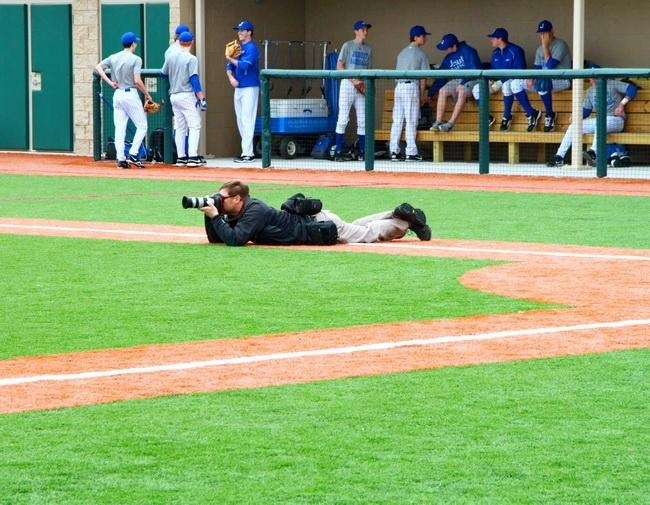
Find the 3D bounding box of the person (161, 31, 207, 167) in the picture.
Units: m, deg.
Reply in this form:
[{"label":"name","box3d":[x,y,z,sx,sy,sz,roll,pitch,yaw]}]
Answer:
[{"label":"person","box3d":[-2.017,-2.205,19.833,0.523,1.986,0.851,-5,14,-20]}]

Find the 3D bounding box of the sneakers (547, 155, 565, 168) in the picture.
[{"label":"sneakers","box3d":[3.244,-1.234,18.661,0.383,0.149,0.139,-1,4,-24]}]

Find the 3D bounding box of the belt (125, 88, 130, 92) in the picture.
[{"label":"belt","box3d":[-2.780,-2.296,19.271,0.084,0.042,0.045,0,-13,-2]}]

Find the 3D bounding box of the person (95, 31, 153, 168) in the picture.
[{"label":"person","box3d":[-2.869,-2.168,19.661,0.749,1.961,1.525,-3,13,-10]}]

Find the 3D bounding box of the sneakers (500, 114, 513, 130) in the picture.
[{"label":"sneakers","box3d":[2.572,-1.843,19.409,0.096,0.106,0.255,8,44,29]}]

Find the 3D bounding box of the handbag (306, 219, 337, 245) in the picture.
[{"label":"handbag","box3d":[-0.033,-0.160,10.963,0.223,0.206,0.169,-4,16,-18]}]

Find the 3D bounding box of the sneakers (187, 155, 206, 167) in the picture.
[{"label":"sneakers","box3d":[-1.880,-1.332,20.149,0.118,0.127,0.302,5,9,41]}]

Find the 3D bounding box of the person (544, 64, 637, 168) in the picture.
[{"label":"person","box3d":[3.564,-1.717,18.287,0.912,1.217,1.088,9,16,35]}]

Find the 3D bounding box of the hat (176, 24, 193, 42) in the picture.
[{"label":"hat","box3d":[-2.006,-3.076,19.551,0.276,0.206,0.407,7,25,-7]}]

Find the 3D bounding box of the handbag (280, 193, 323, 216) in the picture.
[{"label":"handbag","box3d":[-0.185,-0.375,10.812,0.250,0.108,0.192,10,12,43]}]

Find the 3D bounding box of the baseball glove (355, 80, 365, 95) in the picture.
[{"label":"baseball glove","box3d":[0.528,-2.451,20.293,0.127,0.214,0.283,0,13,3]}]

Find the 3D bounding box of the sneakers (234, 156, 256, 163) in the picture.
[{"label":"sneakers","box3d":[-1.197,-1.391,20.473,0.284,0.111,0.107,3,4,-5]}]

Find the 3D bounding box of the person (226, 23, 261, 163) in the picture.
[{"label":"person","box3d":[-1.202,-2.375,20.352,0.476,2.070,0.593,-1,13,-4]}]

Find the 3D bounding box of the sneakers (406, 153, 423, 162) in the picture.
[{"label":"sneakers","box3d":[1.339,-1.380,20.122,0.265,0.101,0.090,-1,10,-13]}]

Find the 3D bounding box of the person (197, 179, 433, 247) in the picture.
[{"label":"person","box3d":[-0.010,-0.288,10.986,1.943,0.541,0.668,0,1,-20]}]

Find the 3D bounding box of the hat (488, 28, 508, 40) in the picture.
[{"label":"hat","box3d":[2.486,-3.188,19.900,0.335,0.177,0.233,4,13,13]}]

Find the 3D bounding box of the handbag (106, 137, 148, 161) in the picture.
[{"label":"handbag","box3d":[-3.060,-1.606,21.209,0.608,0.290,0.355,2,3,-8]}]

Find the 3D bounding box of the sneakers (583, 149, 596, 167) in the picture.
[{"label":"sneakers","box3d":[3.469,-1.226,17.858,0.236,0.208,0.175,0,10,1]}]

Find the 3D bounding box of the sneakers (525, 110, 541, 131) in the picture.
[{"label":"sneakers","box3d":[2.951,-1.852,19.243,0.164,0.367,0.129,27,-13,-32]}]

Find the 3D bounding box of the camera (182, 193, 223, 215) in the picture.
[{"label":"camera","box3d":[-0.908,-0.369,10.237,0.231,0.083,0.143,-3,1,-32]}]

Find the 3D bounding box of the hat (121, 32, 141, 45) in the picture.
[{"label":"hat","box3d":[-2.729,-2.981,19.195,0.182,0.171,0.306,0,13,0]}]

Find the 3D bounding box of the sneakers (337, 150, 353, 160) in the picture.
[{"label":"sneakers","box3d":[0.310,-1.471,20.861,0.213,0.077,0.129,-5,11,-37]}]

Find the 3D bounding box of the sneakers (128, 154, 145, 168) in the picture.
[{"label":"sneakers","box3d":[-2.709,-1.306,19.908,0.301,0.121,0.108,19,32,-27]}]

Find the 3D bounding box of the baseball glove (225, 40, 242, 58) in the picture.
[{"label":"baseball glove","box3d":[-1.327,-3.013,20.118,0.118,0.267,0.262,17,-4,-40]}]

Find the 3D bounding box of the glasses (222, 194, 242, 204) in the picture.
[{"label":"glasses","box3d":[-0.708,-0.408,10.429,0.140,0.055,0.080,-1,13,-4]}]

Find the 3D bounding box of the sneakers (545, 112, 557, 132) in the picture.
[{"label":"sneakers","box3d":[3.155,-1.805,19.097,0.107,0.302,0.137,2,-16,33]}]

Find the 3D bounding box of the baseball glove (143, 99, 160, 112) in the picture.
[{"label":"baseball glove","box3d":[-2.448,-2.070,19.385,0.184,0.191,0.363,-4,13,-14]}]
